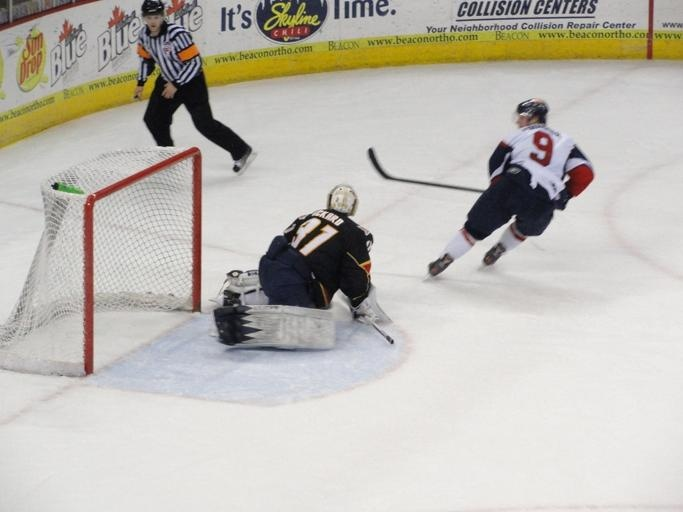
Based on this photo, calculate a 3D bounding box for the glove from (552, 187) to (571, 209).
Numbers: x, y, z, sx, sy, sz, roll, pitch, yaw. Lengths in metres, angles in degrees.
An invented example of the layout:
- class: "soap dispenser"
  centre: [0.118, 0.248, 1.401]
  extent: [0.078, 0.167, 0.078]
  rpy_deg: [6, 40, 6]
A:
- class: "glove"
  centre: [1.580, -0.405, 5.508]
  extent: [0.103, 0.160, 0.044]
  rpy_deg: [29, -1, 27]

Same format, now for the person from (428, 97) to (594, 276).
- class: "person"
  centre: [1.236, -0.362, 5.488]
  extent: [1.066, 1.083, 0.392]
  rpy_deg: [2, 26, 7]

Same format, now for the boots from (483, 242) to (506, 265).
- class: "boots"
  centre: [1.146, -0.013, 5.758]
  extent: [0.102, 0.191, 0.073]
  rpy_deg: [47, 10, 24]

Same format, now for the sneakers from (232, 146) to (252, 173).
- class: "sneakers"
  centre: [-0.966, -0.908, 7.517]
  extent: [0.132, 0.295, 0.111]
  rpy_deg: [17, 24, -28]

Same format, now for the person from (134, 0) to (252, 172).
- class: "person"
  centre: [-1.490, -1.556, 7.197]
  extent: [1.089, 1.617, 0.500]
  rpy_deg: [10, 28, 23]

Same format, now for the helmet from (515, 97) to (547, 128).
- class: "helmet"
  centre: [1.391, -1.067, 5.617]
  extent: [0.240, 0.226, 0.175]
  rpy_deg: [7, 46, 11]

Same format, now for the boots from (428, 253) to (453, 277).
- class: "boots"
  centre: [0.720, 0.062, 5.618]
  extent: [0.091, 0.231, 0.088]
  rpy_deg: [-26, 80, -50]

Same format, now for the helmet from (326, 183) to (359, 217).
- class: "helmet"
  centre: [0.009, -0.373, 4.996]
  extent: [0.171, 0.205, 0.200]
  rpy_deg: [8, -13, 4]
